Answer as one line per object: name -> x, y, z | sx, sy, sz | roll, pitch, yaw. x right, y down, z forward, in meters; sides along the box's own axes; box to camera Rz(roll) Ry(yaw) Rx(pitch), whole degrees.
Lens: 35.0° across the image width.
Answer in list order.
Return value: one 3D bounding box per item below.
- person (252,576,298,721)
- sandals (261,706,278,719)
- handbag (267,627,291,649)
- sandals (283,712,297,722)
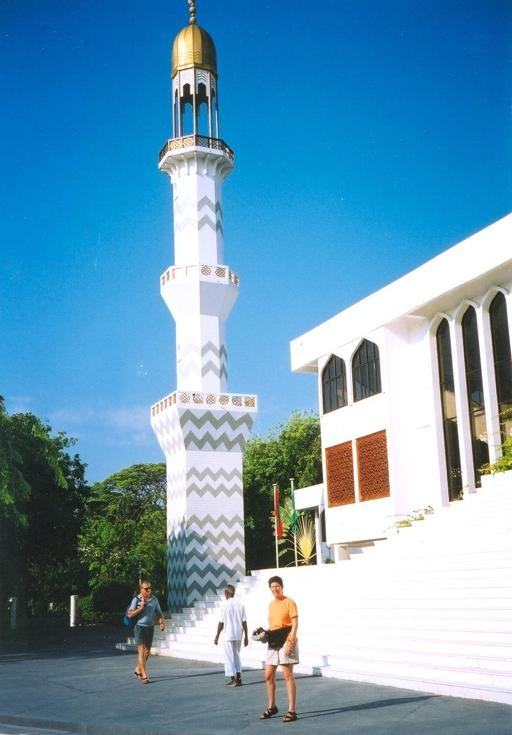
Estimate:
person -> 0.187, 2.651, 7.781 | 0.431, 1.258, 0.843 | -3, -13, 0
sandals -> 0.117, 3.215, 7.545 | 0.059, 0.083, 0.189 | -17, -26, 31
handbag -> 0.211, 2.581, 7.734 | 0.178, 0.179, 0.164 | 3, -18, -12
sandals -> 0.302, 3.134, 7.318 | 0.125, 0.076, 0.324 | -5, -15, 1
